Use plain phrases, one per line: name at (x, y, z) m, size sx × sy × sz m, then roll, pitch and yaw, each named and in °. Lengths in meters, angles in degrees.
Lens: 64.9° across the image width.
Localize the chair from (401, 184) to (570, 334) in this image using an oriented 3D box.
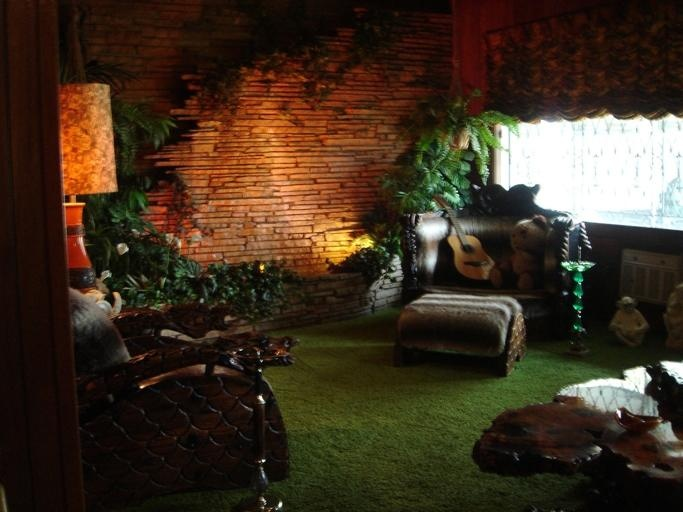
chair at (1.449, 0.013, 5.059) m, size 1.680 × 1.110 × 0.879 m, roll -3°, pitch 22°, yaw 36°

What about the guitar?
guitar at (1.195, -0.092, 5.239) m, size 0.376 × 0.723 × 0.100 m, roll -10°, pitch -39°, yaw -25°

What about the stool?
stool at (0.982, 0.515, 4.367) m, size 1.142 × 0.326 × 0.943 m, roll -5°, pitch 18°, yaw 4°

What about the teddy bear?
teddy bear at (1.702, -0.023, 5.019) m, size 0.487 × 0.675 × 0.385 m, roll 6°, pitch 17°, yaw 34°
